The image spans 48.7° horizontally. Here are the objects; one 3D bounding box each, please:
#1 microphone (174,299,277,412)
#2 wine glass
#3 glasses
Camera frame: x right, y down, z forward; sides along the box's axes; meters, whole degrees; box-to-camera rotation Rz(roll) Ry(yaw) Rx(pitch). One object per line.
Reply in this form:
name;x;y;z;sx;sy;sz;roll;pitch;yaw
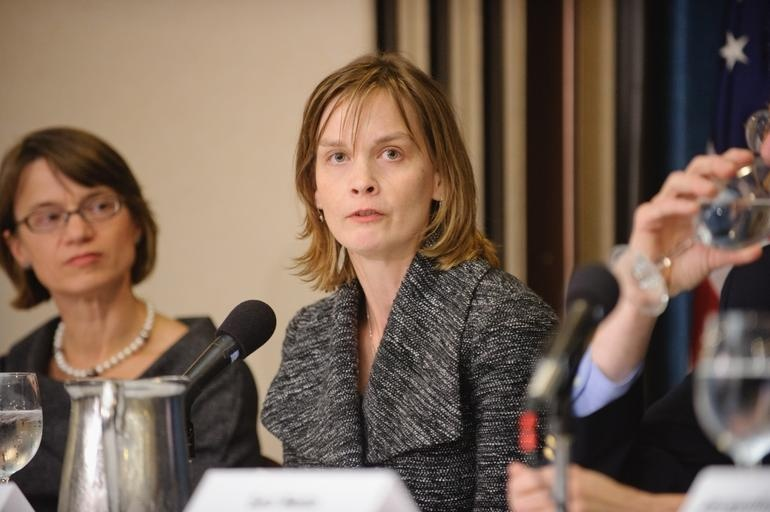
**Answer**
microphone;-0.334;0.193;1.720;0.137;0.203;0.252;-9;2;43
wine glass;0.682;-0.029;1.874;0.236;0.226;0.409;1;-22;-34
glasses;-0.910;-0.126;2.507;0.282;0.122;0.043;-11;2;-9
